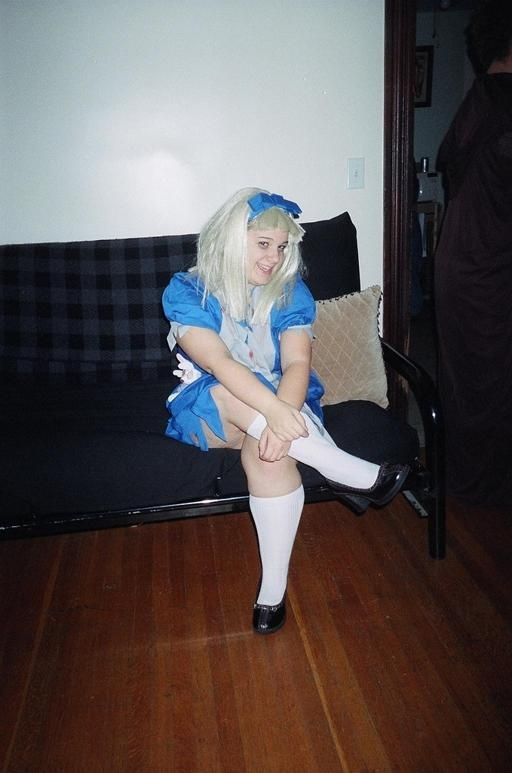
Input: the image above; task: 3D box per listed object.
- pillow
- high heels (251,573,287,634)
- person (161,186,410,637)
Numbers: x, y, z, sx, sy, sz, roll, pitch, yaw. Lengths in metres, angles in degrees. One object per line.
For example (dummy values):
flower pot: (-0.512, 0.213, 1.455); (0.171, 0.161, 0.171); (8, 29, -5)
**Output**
pillow: (0.269, -0.107, 1.616); (0.247, 0.313, 0.076); (-3, -1, -14)
high heels: (0.030, 0.507, 1.230); (0.071, 0.050, 0.145); (0, 23, 10)
person: (0.046, 0.035, 1.242); (0.516, 0.954, 0.395); (-5, 13, -12)
